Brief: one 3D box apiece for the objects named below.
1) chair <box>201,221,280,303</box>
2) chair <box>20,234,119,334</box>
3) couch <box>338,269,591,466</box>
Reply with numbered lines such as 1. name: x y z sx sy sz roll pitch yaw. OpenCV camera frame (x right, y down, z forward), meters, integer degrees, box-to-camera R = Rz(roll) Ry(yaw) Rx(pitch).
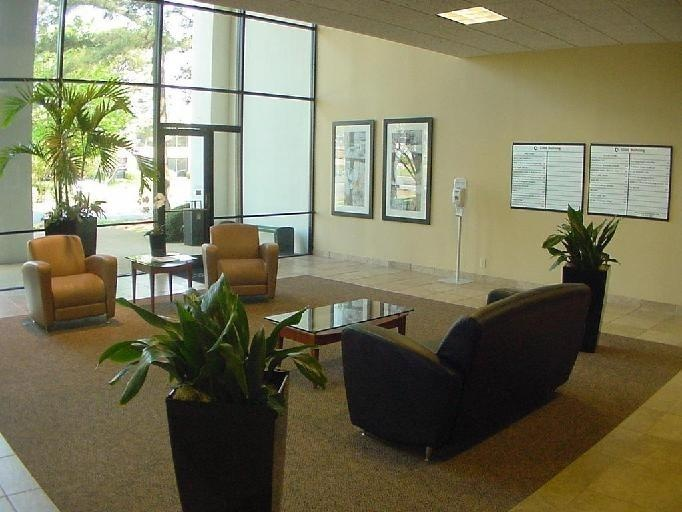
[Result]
1. chair: -1.366 0.029 7.127 1.350 1.446 1.088 0 1 -21
2. chair: -3.160 0.350 5.806 1.056 1.170 1.082 -2 4 -37
3. couch: 0.745 0.353 3.502 1.832 1.070 1.025 -9 13 -42
